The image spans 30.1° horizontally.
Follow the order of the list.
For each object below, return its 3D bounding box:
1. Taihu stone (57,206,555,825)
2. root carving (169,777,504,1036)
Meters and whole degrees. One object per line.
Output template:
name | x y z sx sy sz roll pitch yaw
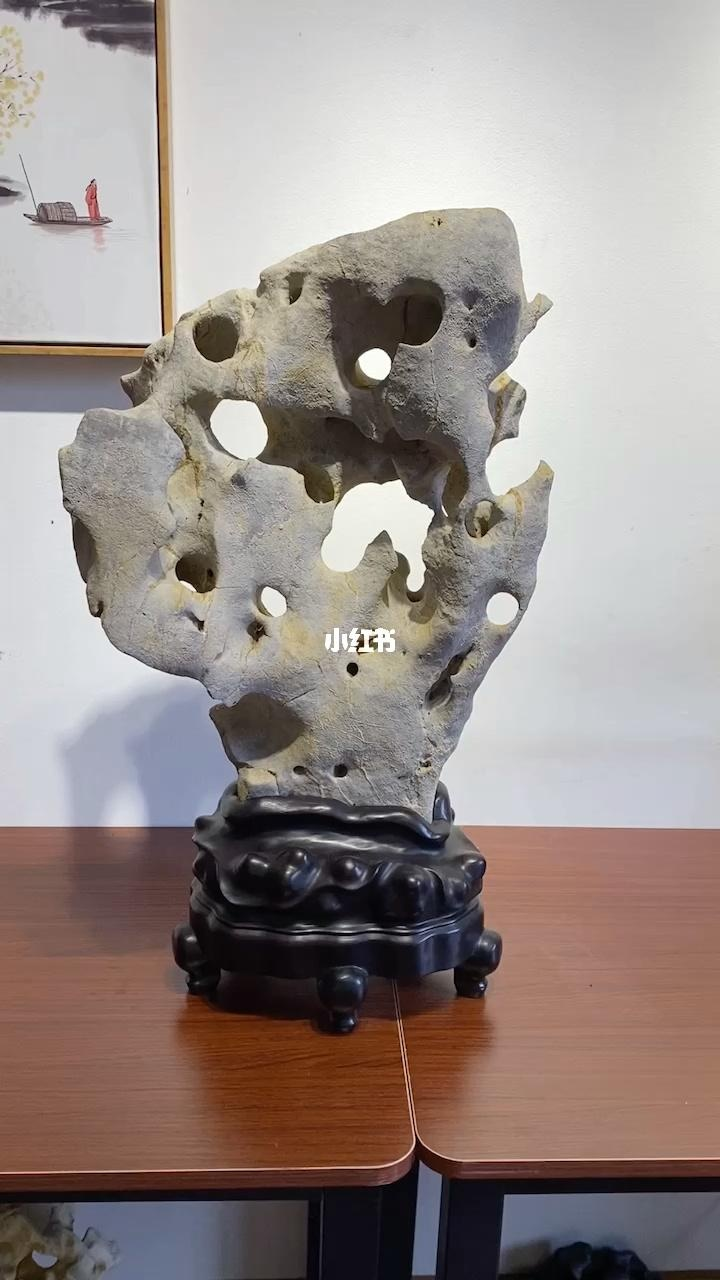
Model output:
Taihu stone | -0.046 -0.117 1.167 0.424 0.519 0.233 0 22 -12
root carving | -0.029 0.224 1.216 0.294 0.176 0.294 0 4 1
